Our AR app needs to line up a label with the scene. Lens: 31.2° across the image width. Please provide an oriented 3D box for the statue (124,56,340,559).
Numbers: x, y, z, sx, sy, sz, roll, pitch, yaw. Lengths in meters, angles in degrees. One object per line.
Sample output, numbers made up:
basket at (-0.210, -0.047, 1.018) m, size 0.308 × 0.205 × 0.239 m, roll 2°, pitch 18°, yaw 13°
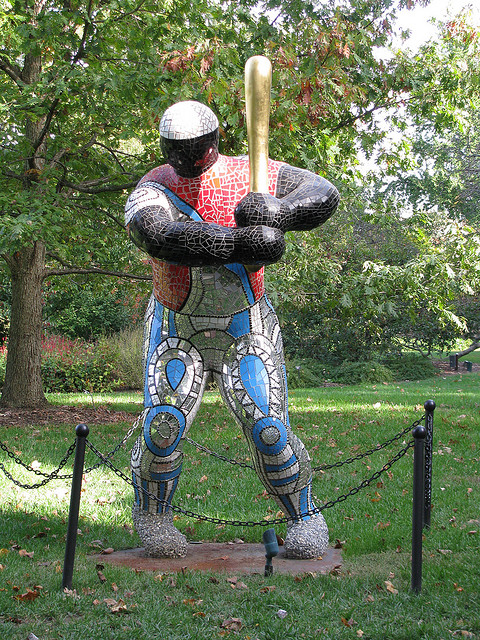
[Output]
statue at (-0.130, 0.124, 4.993) m, size 1.124 × 2.882 × 1.289 m, roll 4°, pitch 5°, yaw -11°
